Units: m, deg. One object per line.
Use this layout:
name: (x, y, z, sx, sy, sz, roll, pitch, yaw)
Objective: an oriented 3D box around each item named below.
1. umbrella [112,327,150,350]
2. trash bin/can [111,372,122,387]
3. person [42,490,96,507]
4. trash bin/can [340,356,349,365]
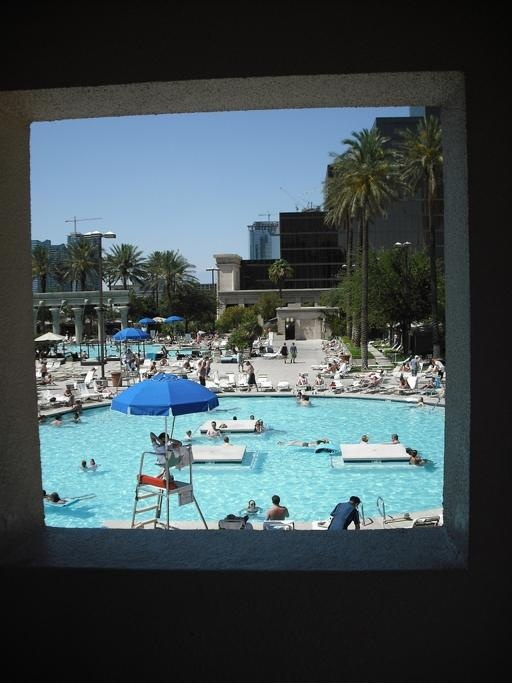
umbrella: (-8.539, -0.063, 40.725, 1.998, 0.731, 2.078, -3, -4, 26)
trash bin/can: (-6.120, 1.657, 26.085, 0.537, 0.579, 0.562, -1, 2, 0)
person: (-3.522, 2.965, 11.156, 0.900, 0.243, 0.725, 5, -15, -12)
trash bin/can: (4.493, 0.976, 30.315, 0.445, 0.362, 0.466, 1, 1, -1)
